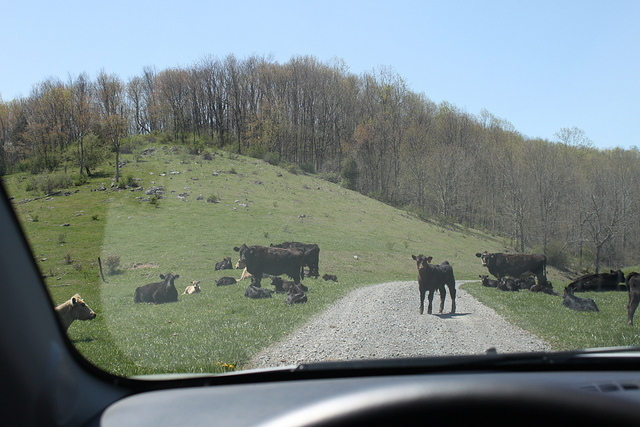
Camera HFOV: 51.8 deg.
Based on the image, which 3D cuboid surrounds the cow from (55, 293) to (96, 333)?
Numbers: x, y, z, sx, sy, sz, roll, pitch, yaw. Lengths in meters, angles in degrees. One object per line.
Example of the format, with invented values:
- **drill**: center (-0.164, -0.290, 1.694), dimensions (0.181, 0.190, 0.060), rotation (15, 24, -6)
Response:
- **cow**: center (-10.346, 4.111, 27.392), dimensions (2.130, 1.621, 0.920), rotation (2, 6, -3)

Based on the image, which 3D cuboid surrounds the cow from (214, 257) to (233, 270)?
- **cow**: center (-5.892, 3.157, 40.358), dimensions (0.465, 0.686, 1.309), rotation (5, -16, -36)

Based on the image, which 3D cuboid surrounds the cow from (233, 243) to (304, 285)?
- **cow**: center (-2.481, 3.026, 38.730), dimensions (4.771, 2.792, 1.683), rotation (4, -5, 0)

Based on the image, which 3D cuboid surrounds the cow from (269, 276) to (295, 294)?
- **cow**: center (-2.126, 4.000, 36.492), dimensions (1.422, 0.822, 0.594), rotation (4, -3, 31)

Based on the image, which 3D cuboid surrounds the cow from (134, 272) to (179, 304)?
- **cow**: center (-8.614, 4.140, 34.831), dimensions (2.700, 1.433, 1.181), rotation (-15, -17, 30)

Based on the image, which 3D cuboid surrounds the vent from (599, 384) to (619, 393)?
- **vent**: center (10.688, 6.490, 24.386), dimensions (0.643, 0.243, 0.171), rotation (-2, 7, -2)

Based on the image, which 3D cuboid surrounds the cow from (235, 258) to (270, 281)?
- **cow**: center (-3.942, 3.334, 38.246), dimensions (2.510, 1.444, 0.833), rotation (7, 2, -1)

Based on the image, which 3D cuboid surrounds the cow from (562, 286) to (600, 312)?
- **cow**: center (12.831, 4.343, 32.630), dimensions (0.929, 0.934, 1.679), rotation (-6, 12, -27)

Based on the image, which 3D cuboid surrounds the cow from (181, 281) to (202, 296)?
- **cow**: center (-7.135, 4.158, 36.903), dimensions (0.678, 0.628, 1.330), rotation (3, 8, 31)

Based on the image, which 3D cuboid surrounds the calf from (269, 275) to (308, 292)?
- **calf**: center (-1.839, 3.897, 36.341), dimensions (2.122, 1.128, 0.800), rotation (6, 0, 25)

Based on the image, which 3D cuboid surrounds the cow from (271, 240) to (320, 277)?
- **cow**: center (-1.904, 2.696, 40.356), dimensions (3.646, 2.105, 1.199), rotation (2, 19, 17)

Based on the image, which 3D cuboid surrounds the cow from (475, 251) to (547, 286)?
- **cow**: center (11.711, 3.542, 39.978), dimensions (4.331, 2.551, 1.476), rotation (-1, 9, 34)

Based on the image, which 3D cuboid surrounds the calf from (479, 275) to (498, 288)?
- **calf**: center (9.609, 3.943, 37.680), dimensions (0.921, 0.532, 0.380), rotation (16, 0, -4)

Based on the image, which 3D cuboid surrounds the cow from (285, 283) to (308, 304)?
- **cow**: center (-1.235, 4.283, 34.728), dimensions (1.112, 0.689, 1.552), rotation (-2, 7, -2)

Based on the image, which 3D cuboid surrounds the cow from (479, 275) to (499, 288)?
- **cow**: center (9.672, 3.922, 37.758), dimensions (0.409, 0.567, 0.974), rotation (-5, 15, -37)

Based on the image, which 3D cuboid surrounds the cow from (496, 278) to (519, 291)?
- **cow**: center (10.545, 4.035, 37.146), dimensions (1.403, 0.869, 0.494), rotation (-2, -26, 46)

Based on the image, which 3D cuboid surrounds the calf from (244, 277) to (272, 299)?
- **calf**: center (-3.554, 4.117, 35.799), dimensions (0.597, 0.948, 1.792), rotation (3, 2, -27)
